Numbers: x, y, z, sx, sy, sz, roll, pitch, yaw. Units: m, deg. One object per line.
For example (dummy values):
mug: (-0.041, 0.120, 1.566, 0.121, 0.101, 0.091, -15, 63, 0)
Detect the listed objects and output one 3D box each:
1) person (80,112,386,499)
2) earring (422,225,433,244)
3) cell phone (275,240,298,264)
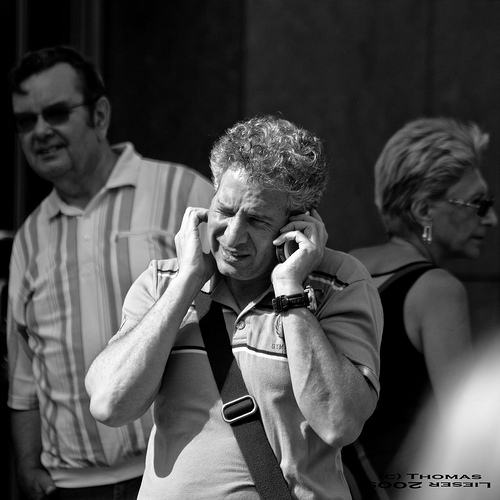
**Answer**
person: (-0.027, 0.178, 2.156, 0.835, 1.123, 0.455, -2, 8, 12)
earring: (0.670, -0.057, 2.688, 0.038, 0.074, 0.019, -1, 8, 15)
cell phone: (0.111, 0.002, 2.175, 0.021, 0.064, 0.060, 36, 24, 13)
